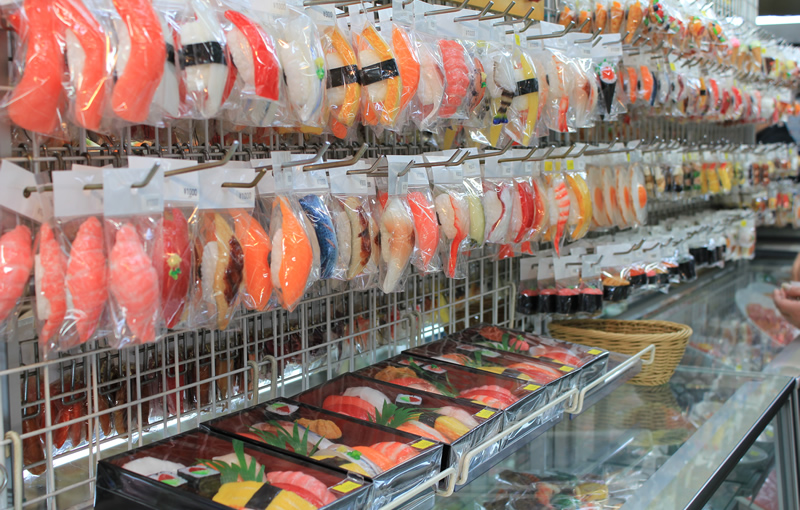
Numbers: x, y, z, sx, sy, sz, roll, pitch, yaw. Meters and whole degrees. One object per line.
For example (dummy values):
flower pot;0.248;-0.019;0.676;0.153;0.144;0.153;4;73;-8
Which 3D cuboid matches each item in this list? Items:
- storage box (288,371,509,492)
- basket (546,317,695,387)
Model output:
storage box;0.011;0.367;1.514;0.332;0.080;0.204;10;16;36
basket;0.723;0.290;2.204;0.263;0.134;0.342;-5;8;-32
